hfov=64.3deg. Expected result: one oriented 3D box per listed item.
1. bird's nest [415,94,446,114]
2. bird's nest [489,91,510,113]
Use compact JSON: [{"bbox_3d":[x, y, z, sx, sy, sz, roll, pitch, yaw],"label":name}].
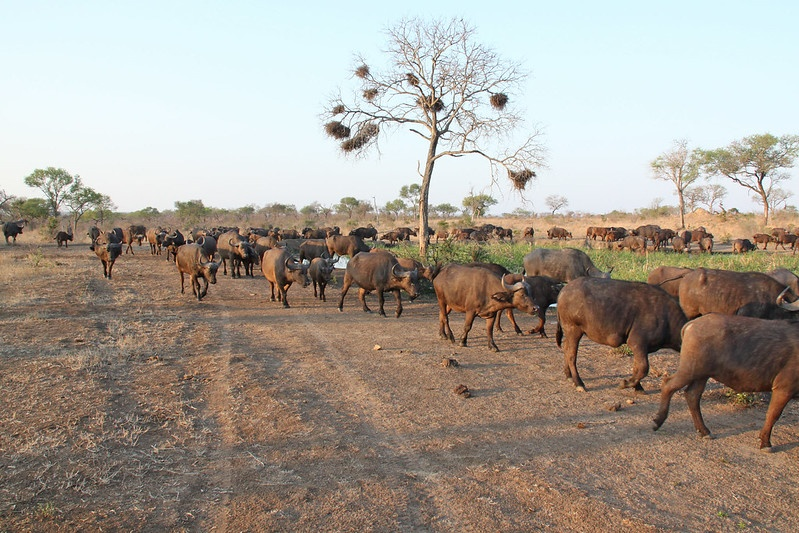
[{"bbox_3d":[1.393,-7.010,27.575,1.015,0.689,1.641,1,9,-4],"label":"bird's nest"},{"bbox_3d":[4.133,-6.835,26.210,0.599,0.587,1.177,2,9,2],"label":"bird's nest"}]
